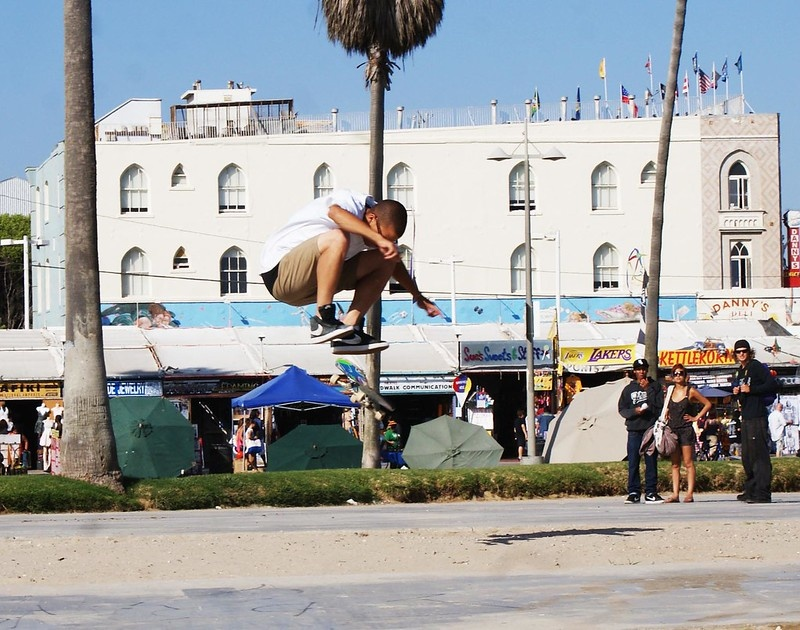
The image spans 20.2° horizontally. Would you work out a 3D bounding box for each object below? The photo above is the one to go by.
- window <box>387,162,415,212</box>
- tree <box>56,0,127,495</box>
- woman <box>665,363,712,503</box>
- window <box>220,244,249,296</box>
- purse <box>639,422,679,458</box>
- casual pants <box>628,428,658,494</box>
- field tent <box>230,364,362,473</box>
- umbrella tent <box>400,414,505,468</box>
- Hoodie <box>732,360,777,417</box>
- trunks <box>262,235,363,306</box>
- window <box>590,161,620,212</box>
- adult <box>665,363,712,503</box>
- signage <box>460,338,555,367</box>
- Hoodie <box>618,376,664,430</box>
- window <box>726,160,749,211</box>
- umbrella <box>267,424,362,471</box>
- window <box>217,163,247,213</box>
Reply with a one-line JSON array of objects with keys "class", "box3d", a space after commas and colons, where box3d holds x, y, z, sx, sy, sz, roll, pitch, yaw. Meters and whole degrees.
[{"class": "window", "box3d": [-0.009, -4.945, 86.694, 1.069, 1.894, 0.188, -1, 5, 12]}, {"class": "tree", "box3d": [-8.065, -1.879, 56.929, 1.324, 12.378, 1.083, -1, -1, 2]}, {"class": "woman", "box3d": [7.024, 2.940, 55.174, 1.352, 3.388, 1.001, -2, -5, 10]}, {"class": "window", "box3d": [-6.391, -1.660, 85.262, 1.043, 1.795, 0.449, -1, -1, -5]}, {"class": "purse", "box3d": [6.299, 3.023, 54.896, 0.763, 0.801, 0.405, 4, 6, -7]}, {"class": "casual pants", "box3d": [5.932, 3.625, 55.243, 0.749, 1.765, 0.532, 1, 7, 4]}, {"class": "field tent", "box3d": [-3.026, 2.407, 66.594, 3.242, 2.017, 3.367, -5, 1, -13]}, {"class": "umbrella tent", "box3d": [1.455, 3.324, 60.730, 2.584, 0.845, 2.521, 15, 21, 35]}, {"class": "Hoodie", "box3d": [8.715, 1.844, 54.932, 0.876, 1.561, 1.306, -1, 1, -21]}, {"class": "trunks", "box3d": [-2.025, -0.915, 48.926, 1.615, 0.596, 1.603, -18, 3, 12]}, {"class": "window", "box3d": [7.967, -5.070, 87.708, 1.027, 1.829, 0.125, -1, -1, 7]}, {"class": "adult", "box3d": [7.050, 2.949, 55.196, 1.277, 3.397, 1.000, -2, -4, 18]}, {"class": "signage", "box3d": [3.485, 1.330, 74.812, 3.087, 0.931, 1.309, -1, -1, 1]}, {"class": "Hoodie", "box3d": [5.863, 2.285, 55.486, 1.251, 1.573, 1.073, 0, -13, -4]}, {"class": "window", "box3d": [13.181, -5.020, 87.491, 0.894, 2.133, 0.188, 1, 24, 13]}, {"class": "umbrella", "box3d": [-2.371, 3.639, 61.613, 2.676, 1.164, 0.770, 0, -1, -27]}, {"class": "window", "box3d": [-6.458, -4.828, 85.429, 1.013, 1.828, 0.317, -1, -1, 6]}]
